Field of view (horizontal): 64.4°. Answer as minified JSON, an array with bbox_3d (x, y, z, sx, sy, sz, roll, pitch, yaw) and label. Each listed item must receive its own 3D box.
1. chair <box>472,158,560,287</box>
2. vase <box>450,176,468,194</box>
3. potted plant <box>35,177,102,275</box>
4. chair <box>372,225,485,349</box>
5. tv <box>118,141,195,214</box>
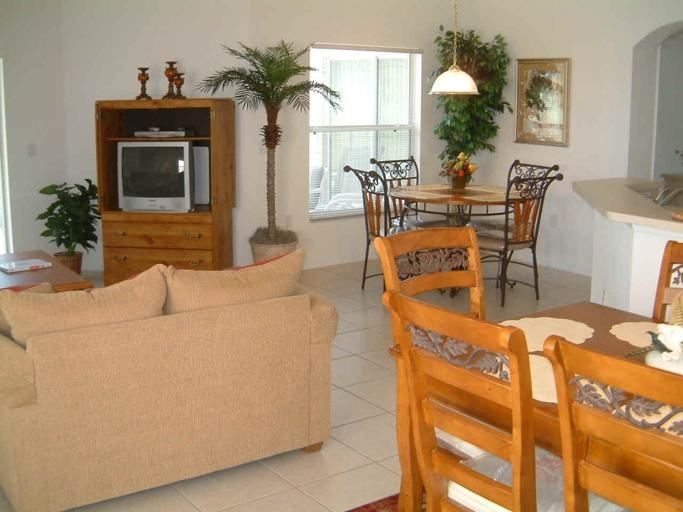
[{"bbox_3d":[1.801,-0.241,5.899,0.950,1.427,0.864,3,14,44],"label":"chair"},{"bbox_3d":[1.287,-0.778,5.954,0.184,0.136,0.180,-1,6,-5],"label":"vase"},{"bbox_3d":[-3.057,-0.282,6.137,0.673,1.071,0.700,-2,-11,-16],"label":"potted plant"},{"bbox_3d":[0.362,0.088,2.313,0.425,0.606,0.446,-6,11,-23],"label":"chair"},{"bbox_3d":[-2.044,-0.861,6.202,0.874,0.791,0.473,2,5,10],"label":"tv"}]
